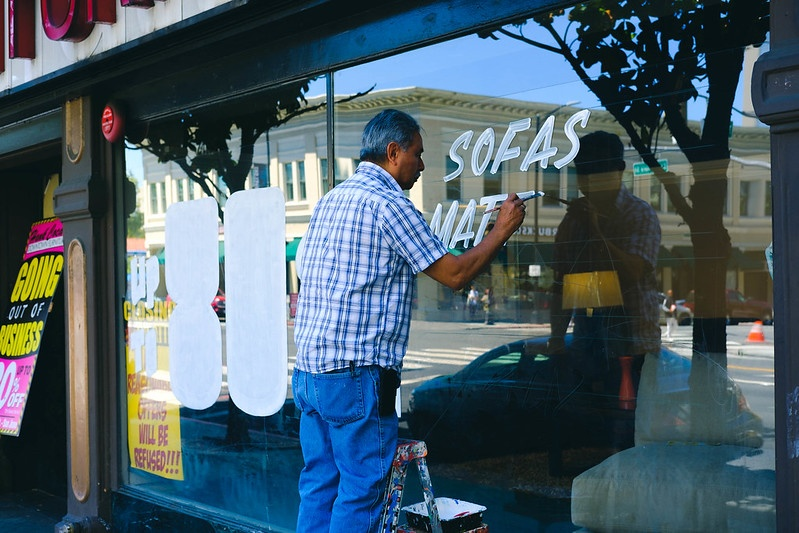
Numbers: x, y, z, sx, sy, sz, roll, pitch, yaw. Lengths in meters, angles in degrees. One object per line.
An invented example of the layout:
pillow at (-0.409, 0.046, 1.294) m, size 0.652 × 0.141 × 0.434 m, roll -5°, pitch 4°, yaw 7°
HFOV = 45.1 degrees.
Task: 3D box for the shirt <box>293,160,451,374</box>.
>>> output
shirt at (-0.290, 0.013, 6.033) m, size 1.157 × 1.279 × 0.672 m, roll 3°, pitch 0°, yaw 42°
